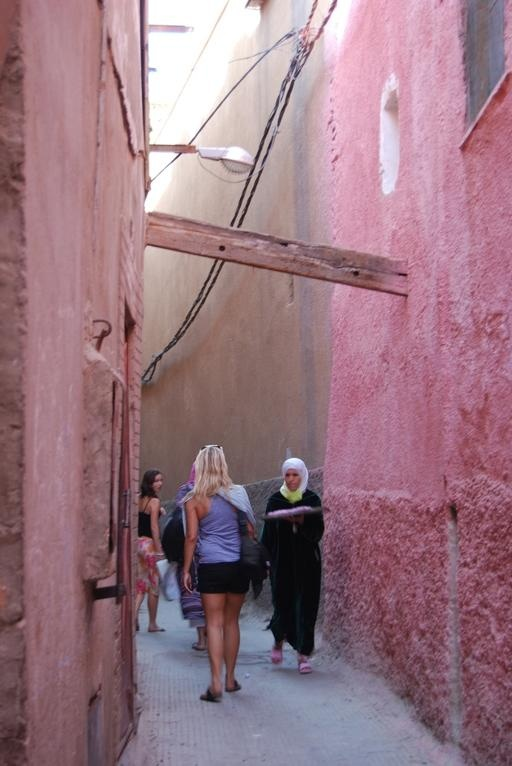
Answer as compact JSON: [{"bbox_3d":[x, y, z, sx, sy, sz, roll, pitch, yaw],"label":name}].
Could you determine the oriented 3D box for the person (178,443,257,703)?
[{"bbox_3d":[-0.217,1.079,4.311,0.409,1.439,0.359,1,-5,-4],"label":"person"}]

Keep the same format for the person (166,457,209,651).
[{"bbox_3d":[-0.406,1.192,5.168,0.242,1.446,0.341,-5,15,-5],"label":"person"}]

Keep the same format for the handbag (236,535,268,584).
[{"bbox_3d":[-0.013,1.000,4.212,0.181,0.266,0.182,5,-8,-36],"label":"handbag"}]

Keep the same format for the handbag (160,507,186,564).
[{"bbox_3d":[-0.597,1.060,5.141,0.170,0.426,0.167,6,-3,-10],"label":"handbag"}]
